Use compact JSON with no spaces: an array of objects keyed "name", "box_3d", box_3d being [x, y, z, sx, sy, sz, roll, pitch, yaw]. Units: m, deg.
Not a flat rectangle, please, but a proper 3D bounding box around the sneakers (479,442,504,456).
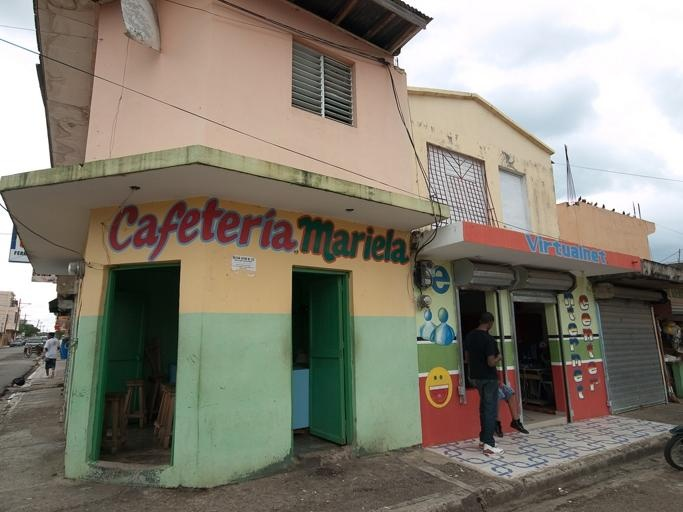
[{"name":"sneakers","box_3d":[2.704,3.504,8.419,0.430,0.214,0.169,-1,-6,0]}]
